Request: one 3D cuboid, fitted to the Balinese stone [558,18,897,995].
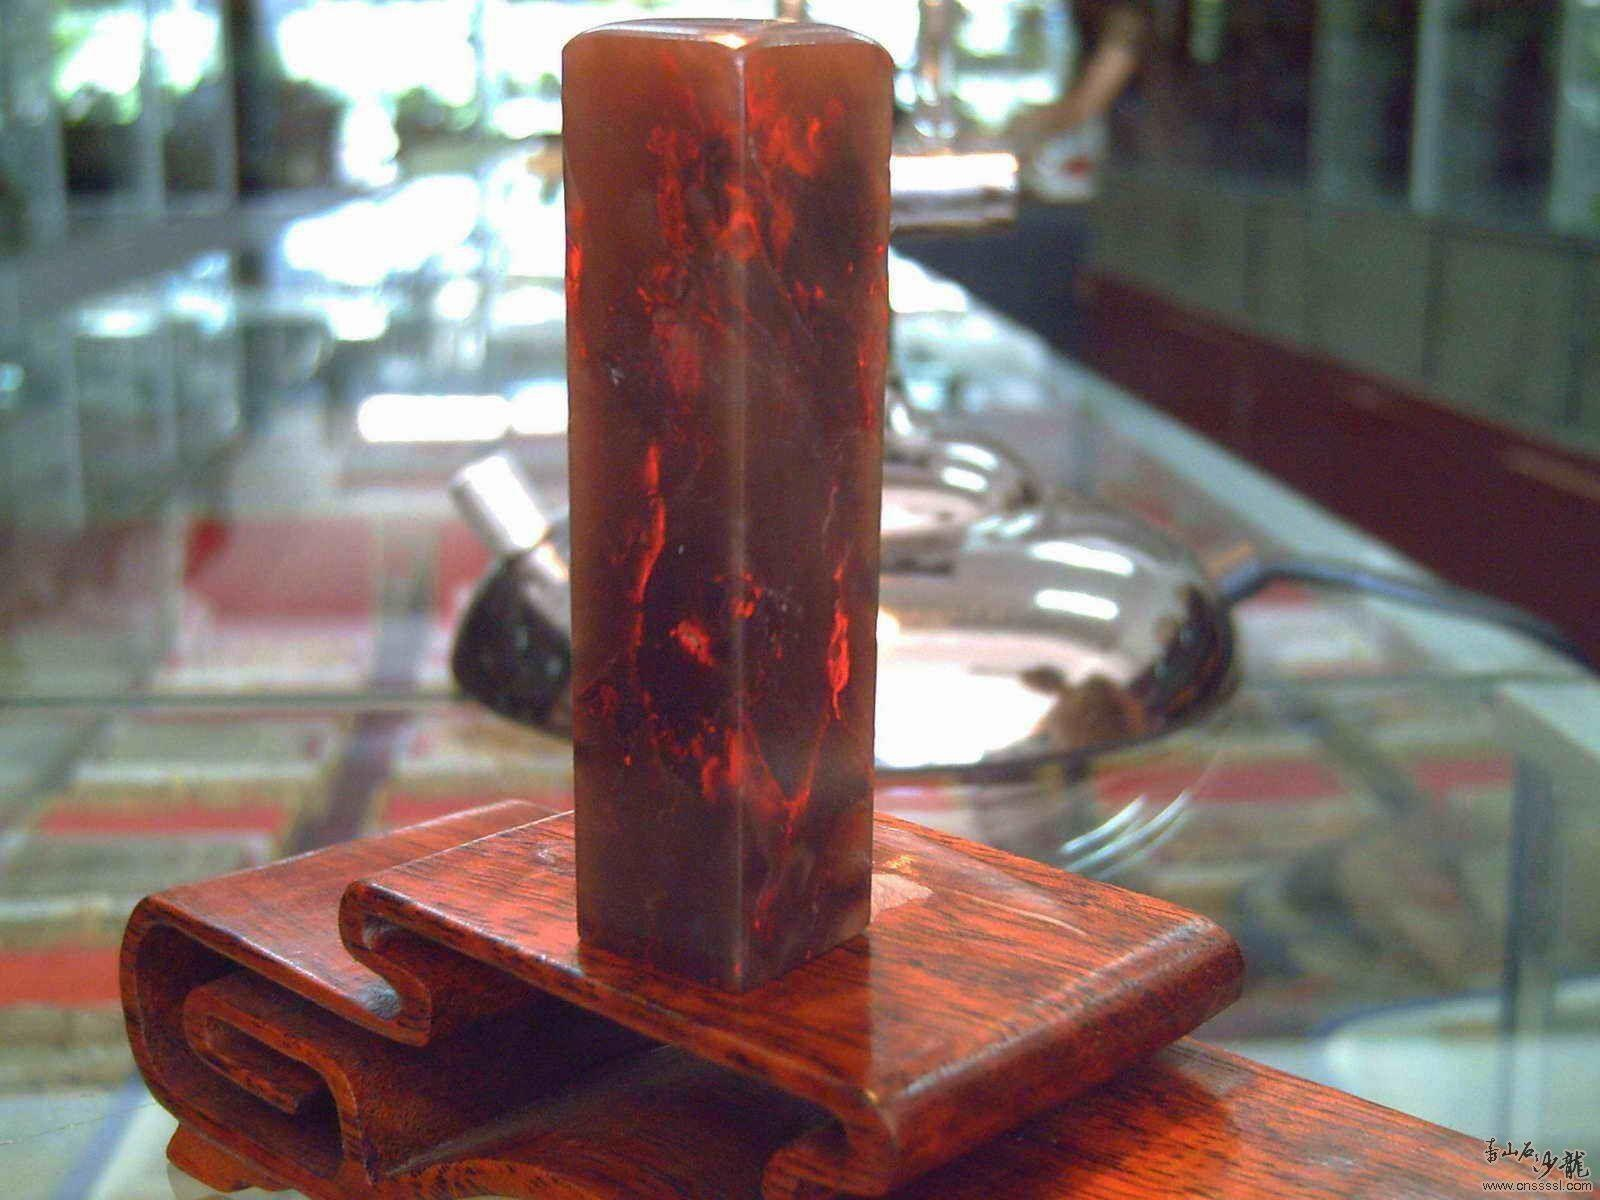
[{"bbox_3d":[-0.055,-0.063,1.049,0.198,0.635,0.216,3,18,19],"label":"Balinese stone"}]
